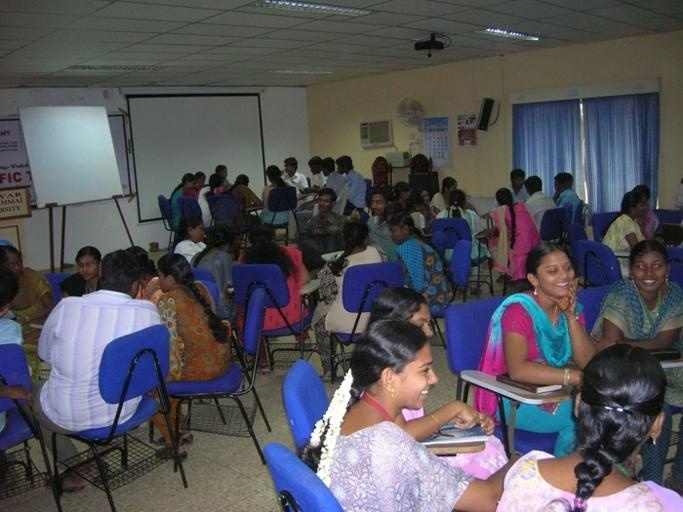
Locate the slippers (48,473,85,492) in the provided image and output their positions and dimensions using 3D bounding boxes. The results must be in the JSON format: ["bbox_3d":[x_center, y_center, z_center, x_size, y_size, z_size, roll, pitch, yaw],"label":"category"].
[{"bbox_3d":[-1.616,1.325,3.067,0.163,0.049,0.176,-2,23,-34],"label":"slippers"}]

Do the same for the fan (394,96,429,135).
[{"bbox_3d":[1.314,-2.642,9.935,0.513,0.632,0.332,3,14,36],"label":"fan"}]

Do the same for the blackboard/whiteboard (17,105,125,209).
[{"bbox_3d":[-4.017,-1.419,7.628,0.109,1.622,1.559,3,21,40],"label":"blackboard/whiteboard"}]

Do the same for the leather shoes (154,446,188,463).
[{"bbox_3d":[-1.075,1.255,3.324,0.216,0.048,0.123,5,49,-13],"label":"leather shoes"}]
